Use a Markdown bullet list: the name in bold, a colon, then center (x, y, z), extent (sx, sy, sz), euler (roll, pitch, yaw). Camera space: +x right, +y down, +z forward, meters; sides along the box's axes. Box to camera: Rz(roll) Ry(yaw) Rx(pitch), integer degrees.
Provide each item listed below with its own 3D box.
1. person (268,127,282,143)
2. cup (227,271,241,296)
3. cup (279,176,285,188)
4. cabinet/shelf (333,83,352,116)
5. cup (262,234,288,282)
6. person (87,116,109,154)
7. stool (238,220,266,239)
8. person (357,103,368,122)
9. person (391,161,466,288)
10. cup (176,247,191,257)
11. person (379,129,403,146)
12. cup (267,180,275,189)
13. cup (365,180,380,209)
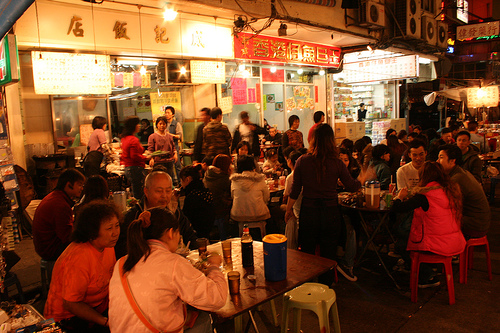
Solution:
- **person**: center (0.707, -0.932, 11.275), extent (0.423, 0.446, 0.945), euler (-2, 10, 2)
- **cup**: center (-0.151, 1.073, 3.500), extent (0.110, 0.190, 0.120), euler (-3, 10, 0)
- **cup**: center (0.604, 0.289, 7.358), extent (0.152, 0.162, 0.165), euler (0, -3, 0)
- **cabinet/shelf**: center (3.517, -2.579, 14.596), extent (0.450, 1.309, 1.482), euler (-2, -3, 32)
- **cup**: center (0.242, 0.881, 3.692), extent (0.231, 0.393, 0.237), euler (-3, 10, 0)
- **person**: center (-3.338, -0.709, 8.241), extent (0.421, 0.725, 0.300), euler (-7, 11, -25)
- **stool**: center (0.007, 0.956, 6.043), extent (0.388, 0.351, 0.376), euler (-3, 5, -11)
- **person**: center (4.697, -2.290, 16.035), extent (0.334, 0.716, 0.509), euler (1, 10, 18)
- **person**: center (2.402, 0.570, 5.070), extent (0.767, 1.204, 0.577), euler (-7, 11, -26)
- **cup**: center (-0.677, 0.867, 3.846), extent (0.084, 0.045, 0.083), euler (-1, 7, 0)
- **person**: center (3.871, -0.812, 10.464), extent (0.507, 0.571, 1.099), euler (-6, 2, 32)
- **cup**: center (0.391, 0.346, 7.240), extent (0.132, 0.143, 0.145), euler (-5, 4, 0)
- **cup**: center (1.759, 0.400, 5.472), extent (0.212, 0.341, 0.318), euler (0, 10, 17)
